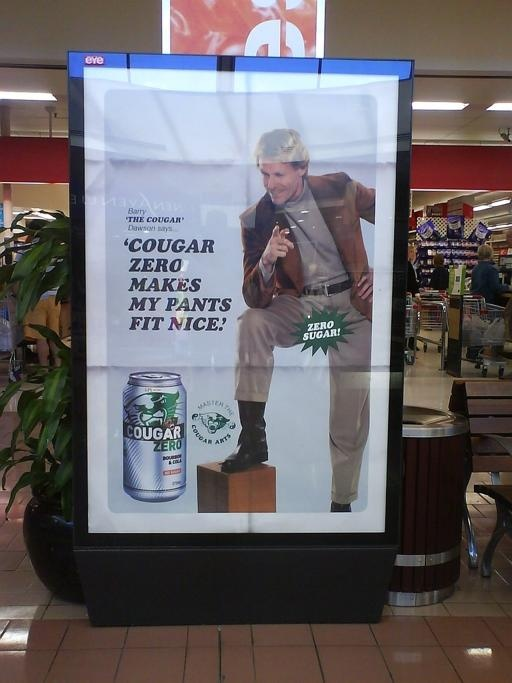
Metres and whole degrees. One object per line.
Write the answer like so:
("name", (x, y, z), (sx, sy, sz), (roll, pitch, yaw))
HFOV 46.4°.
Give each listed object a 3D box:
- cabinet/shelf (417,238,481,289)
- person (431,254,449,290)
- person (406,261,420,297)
("cabinet/shelf", (4.416, -1.885, 13.624), (1.202, 0.393, 1.179), (1, 41, 17))
("person", (3.273, -1.231, 10.668), (0.301, 0.660, 0.739), (1, 2, 16))
("person", (2.063, -0.858, 7.835), (0.126, 0.541, 1.230), (1, 3, 15))
